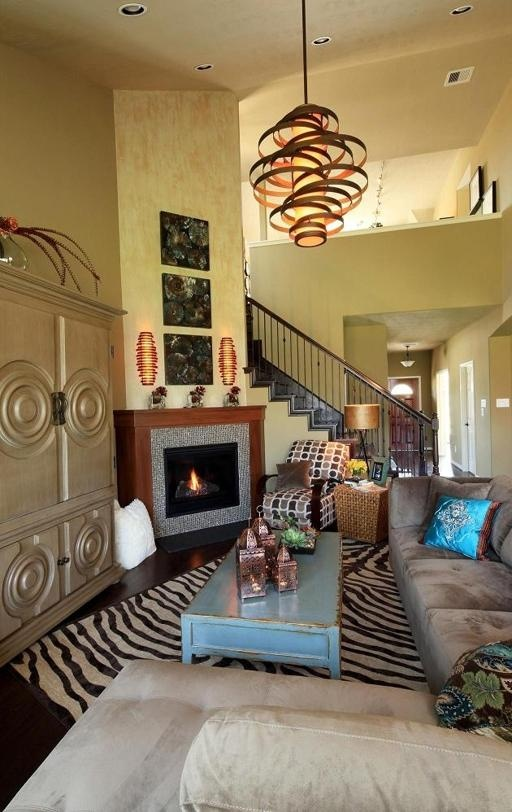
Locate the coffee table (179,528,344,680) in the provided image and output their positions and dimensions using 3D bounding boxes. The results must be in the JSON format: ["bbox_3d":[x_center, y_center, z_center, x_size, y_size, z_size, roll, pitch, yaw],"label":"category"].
[{"bbox_3d":[0.060,0.824,2.523,0.642,0.393,0.848,0,3,10],"label":"coffee table"}]

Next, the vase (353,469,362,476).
[{"bbox_3d":[0.810,0.537,4.459,0.069,0.066,0.101,0,3,10],"label":"vase"}]

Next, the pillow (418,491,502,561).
[{"bbox_3d":[1.069,0.611,2.875,0.085,0.283,0.293,29,-1,-22],"label":"pillow"}]

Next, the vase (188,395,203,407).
[{"bbox_3d":[-0.554,-0.042,5.073,0.105,0.121,0.114,-1,1,11],"label":"vase"}]

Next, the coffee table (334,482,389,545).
[{"bbox_3d":[0.868,0.805,4.422,0.400,0.453,0.418,0,2,27],"label":"coffee table"}]

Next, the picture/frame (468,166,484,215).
[{"bbox_3d":[2.942,-2.822,7.455,0.122,0.557,0.782,0,3,15],"label":"picture/frame"}]

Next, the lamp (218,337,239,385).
[{"bbox_3d":[-0.279,-0.416,5.403,0.167,0.477,0.108,-3,3,-36],"label":"lamp"}]

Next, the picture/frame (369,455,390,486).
[{"bbox_3d":[1.011,0.539,4.575,0.025,0.240,0.253,9,-9,-11],"label":"picture/frame"}]

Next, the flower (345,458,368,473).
[{"bbox_3d":[0.819,0.492,4.491,0.127,0.102,0.135,2,12,10],"label":"flower"}]

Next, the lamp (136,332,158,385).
[{"bbox_3d":[-0.936,-0.397,4.869,0.227,0.475,0.171,-2,3,-31],"label":"lamp"}]

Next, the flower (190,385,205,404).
[{"bbox_3d":[-0.516,-0.095,5.102,0.142,0.205,0.153,-1,0,27],"label":"flower"}]

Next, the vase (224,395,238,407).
[{"bbox_3d":[-0.243,-0.044,5.360,0.108,0.129,0.112,-1,0,-22],"label":"vase"}]

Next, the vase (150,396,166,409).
[{"bbox_3d":[-0.838,-0.025,4.790,0.092,0.100,0.099,1,4,11],"label":"vase"}]
